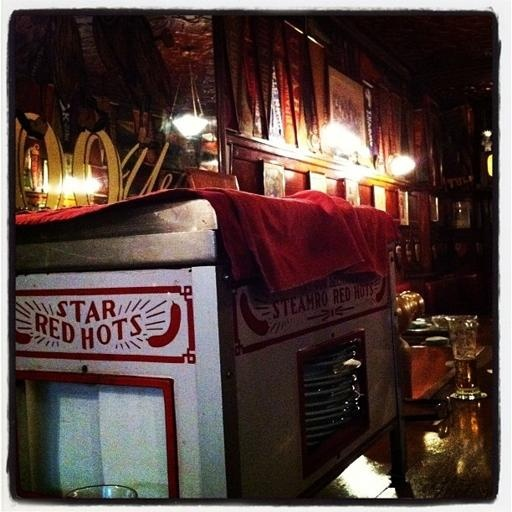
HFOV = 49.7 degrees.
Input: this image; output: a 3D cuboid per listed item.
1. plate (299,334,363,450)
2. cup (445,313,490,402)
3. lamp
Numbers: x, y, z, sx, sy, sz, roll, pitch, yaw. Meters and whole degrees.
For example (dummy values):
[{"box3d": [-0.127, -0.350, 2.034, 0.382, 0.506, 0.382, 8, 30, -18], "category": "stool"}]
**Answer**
[{"box3d": [0.219, 0.384, 1.610, 0.086, 0.303, 0.194, -2, 1, 34], "category": "plate"}, {"box3d": [0.861, 0.423, 2.275, 0.139, 0.346, 0.251, -6, -9, 22], "category": "cup"}, {"box3d": [-0.417, -0.945, 3.418, 0.224, 0.463, 0.115, -2, -8, -6], "category": "lamp"}]
